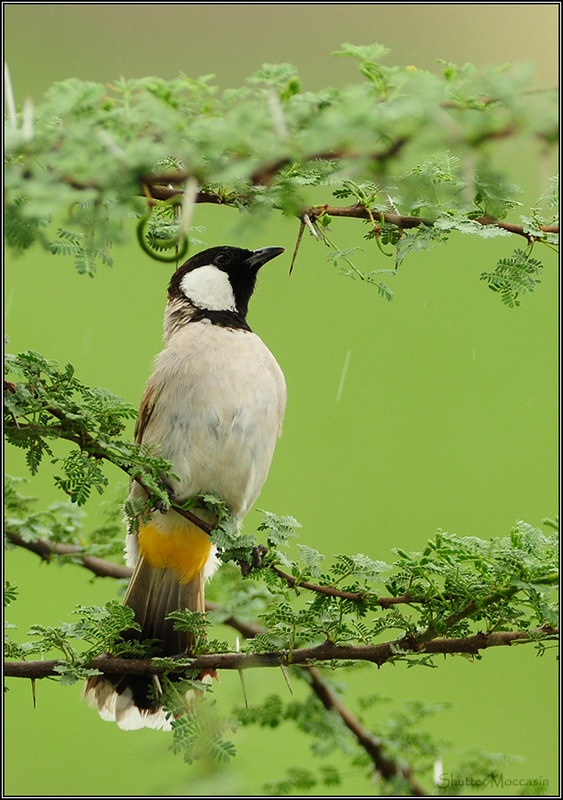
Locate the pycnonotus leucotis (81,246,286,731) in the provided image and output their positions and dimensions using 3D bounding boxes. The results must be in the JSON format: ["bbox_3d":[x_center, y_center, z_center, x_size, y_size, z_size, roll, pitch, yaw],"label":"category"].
[{"bbox_3d":[-0.291,0.256,3.397,0.540,1.763,0.680,7,-9,0],"label":"pycnonotus leucotis"}]
